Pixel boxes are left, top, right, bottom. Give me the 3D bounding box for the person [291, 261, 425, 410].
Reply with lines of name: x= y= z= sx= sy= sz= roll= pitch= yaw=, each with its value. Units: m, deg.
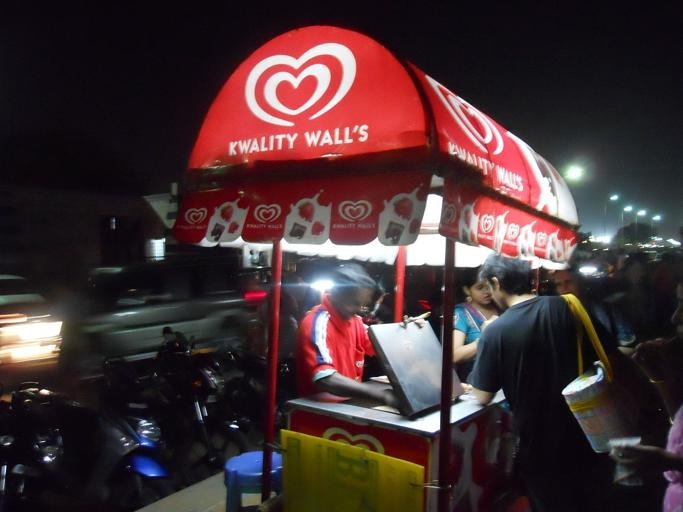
person: x=-0.005 y=0.632 z=4.590 sx=0.719 sy=1.173 sz=1.141 roll=3 pitch=-3 yaw=-5
